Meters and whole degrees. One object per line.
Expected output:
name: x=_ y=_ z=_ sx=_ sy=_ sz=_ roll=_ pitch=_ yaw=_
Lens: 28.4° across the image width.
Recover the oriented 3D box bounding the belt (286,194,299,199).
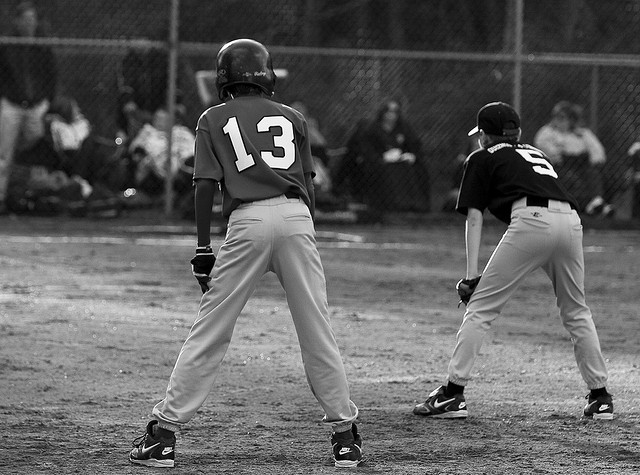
belt: x=-0.174 y=-0.263 z=8.180 sx=0.084 sy=0.024 sz=0.013 roll=-2 pitch=8 yaw=-27

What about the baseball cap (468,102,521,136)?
baseball cap: x=1.284 y=-0.878 z=9.231 sx=0.295 sy=0.213 sz=0.410 roll=-12 pitch=13 yaw=-19

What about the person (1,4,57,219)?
person: x=-3.042 y=-1.289 z=13.146 sx=0.553 sy=2.178 sz=1.344 roll=0 pitch=7 yaw=-12

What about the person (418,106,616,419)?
person: x=1.417 y=0.177 z=9.016 sx=1.273 sy=2.199 sz=0.546 roll=2 pitch=7 yaw=5

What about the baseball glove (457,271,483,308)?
baseball glove: x=1.053 y=0.373 z=9.064 sx=0.120 sy=0.278 sz=0.095 roll=33 pitch=-19 yaw=-21
